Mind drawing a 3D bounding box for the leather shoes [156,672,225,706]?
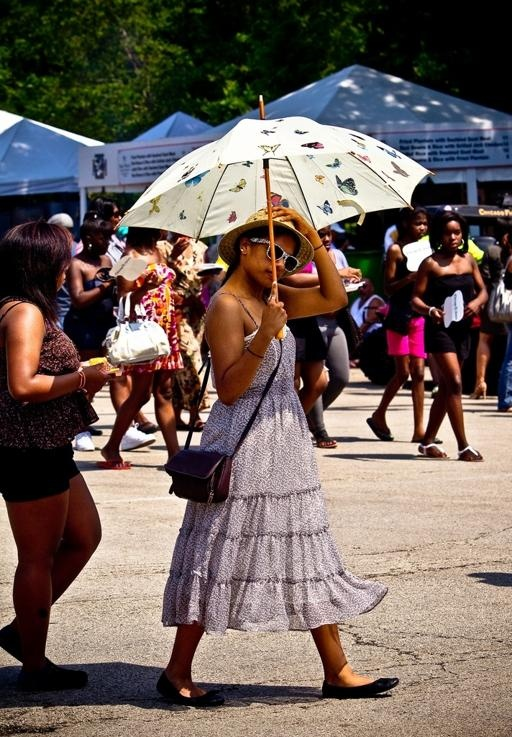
[{"bbox_3d":[-0.210,1.015,2.607,0.263,0.083,0.084,2,-3,12],"label":"leather shoes"}]

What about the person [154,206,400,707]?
[{"bbox_3d":[0.015,0.253,2.680,0.761,1.557,0.544,-3,3,-8],"label":"person"}]

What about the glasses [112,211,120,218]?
[{"bbox_3d":[-1.571,-1.699,9.201,0.091,0.103,0.035,-3,3,1],"label":"glasses"}]

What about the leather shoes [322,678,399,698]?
[{"bbox_3d":[0.318,0.995,2.561,0.252,0.061,0.079,-6,-2,4],"label":"leather shoes"}]

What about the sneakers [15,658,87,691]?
[{"bbox_3d":[-0.654,0.990,2.731,0.263,0.089,0.086,2,8,-20],"label":"sneakers"}]

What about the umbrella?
[{"bbox_3d":[0.121,-0.535,3.201,1.172,0.783,0.974,-10,-8,2],"label":"umbrella"}]

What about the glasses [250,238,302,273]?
[{"bbox_3d":[0.061,-0.353,2.663,0.122,0.038,0.123,34,0,37],"label":"glasses"}]

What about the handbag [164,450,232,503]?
[{"bbox_3d":[-0.152,0.324,2.584,0.170,0.177,0.268,8,-5,-38],"label":"handbag"}]

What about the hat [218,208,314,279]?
[{"bbox_3d":[0.028,-0.418,2.705,0.282,0.123,0.263,-18,-36,27],"label":"hat"}]
